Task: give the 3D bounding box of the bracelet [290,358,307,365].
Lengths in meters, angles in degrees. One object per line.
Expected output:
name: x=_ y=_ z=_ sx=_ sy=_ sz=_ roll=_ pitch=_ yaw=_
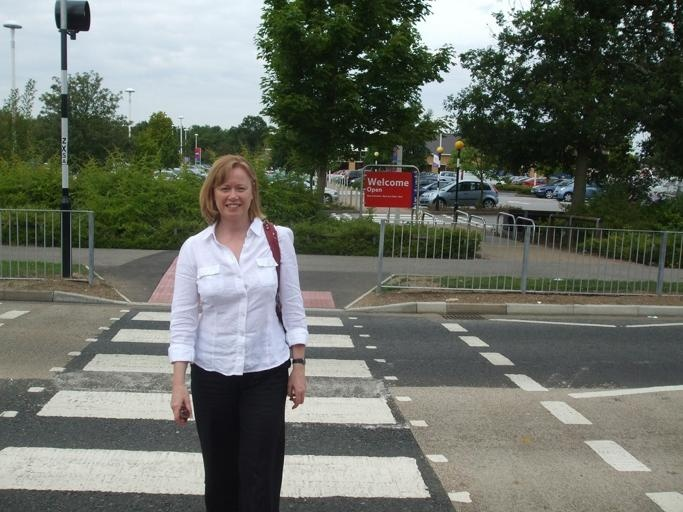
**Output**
bracelet: x=-0.371 y=0.882 z=6.426 sx=0.110 sy=0.051 sz=0.106 roll=-1 pitch=-2 yaw=3
